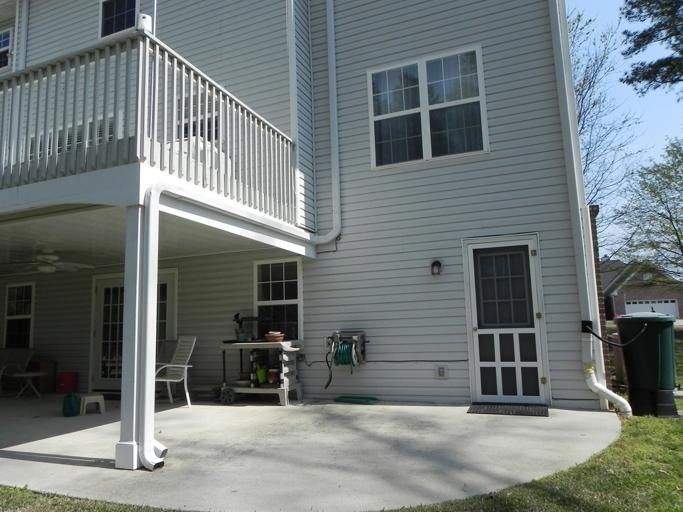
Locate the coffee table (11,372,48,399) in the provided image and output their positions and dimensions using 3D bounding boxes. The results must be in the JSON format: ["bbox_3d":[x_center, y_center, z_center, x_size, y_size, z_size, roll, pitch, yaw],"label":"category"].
[{"bbox_3d":[-6.064,2.402,10.349,0.621,0.674,1.061,4,-10,-27],"label":"coffee table"}]

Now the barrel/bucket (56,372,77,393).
[{"bbox_3d":[-5.639,2.562,10.915,0.385,0.409,0.264,-2,-1,25],"label":"barrel/bucket"}]

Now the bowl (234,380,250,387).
[{"bbox_3d":[-1.674,2.136,8.995,0.328,0.107,0.105,-3,-1,35],"label":"bowl"}]

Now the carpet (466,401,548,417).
[{"bbox_3d":[2.425,2.209,7.743,1.096,0.051,0.747,-2,-1,18],"label":"carpet"}]

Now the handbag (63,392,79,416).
[{"bbox_3d":[-4.145,2.266,8.178,0.223,0.335,0.251,-1,-1,-24],"label":"handbag"}]

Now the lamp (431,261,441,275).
[{"bbox_3d":[1.540,0.180,8.608,0.169,0.193,0.078,-2,-1,3],"label":"lamp"}]

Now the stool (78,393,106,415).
[{"bbox_3d":[-3.910,2.311,8.375,0.351,0.283,0.431,-1,-1,-25],"label":"stool"}]
